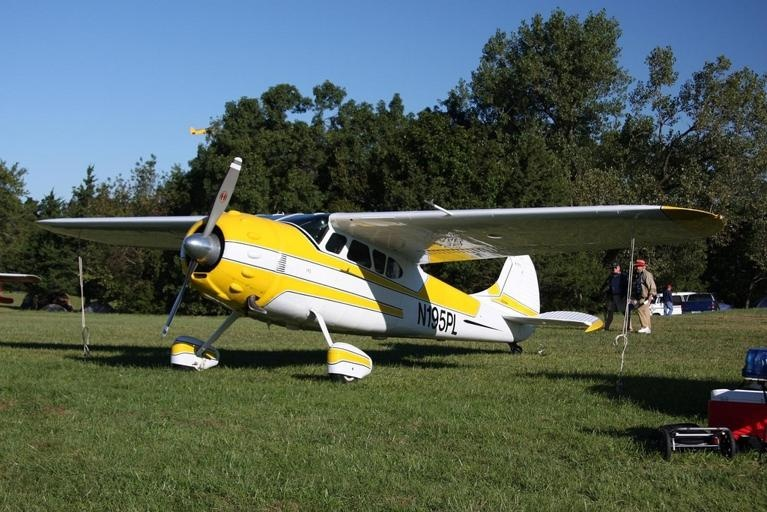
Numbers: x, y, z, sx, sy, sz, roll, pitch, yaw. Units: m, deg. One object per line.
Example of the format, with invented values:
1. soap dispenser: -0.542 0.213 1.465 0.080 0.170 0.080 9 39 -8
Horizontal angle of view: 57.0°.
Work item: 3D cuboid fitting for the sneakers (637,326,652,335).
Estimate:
1. sneakers: 6.902 1.965 18.578 0.438 0.184 0.148 0 -11 4
